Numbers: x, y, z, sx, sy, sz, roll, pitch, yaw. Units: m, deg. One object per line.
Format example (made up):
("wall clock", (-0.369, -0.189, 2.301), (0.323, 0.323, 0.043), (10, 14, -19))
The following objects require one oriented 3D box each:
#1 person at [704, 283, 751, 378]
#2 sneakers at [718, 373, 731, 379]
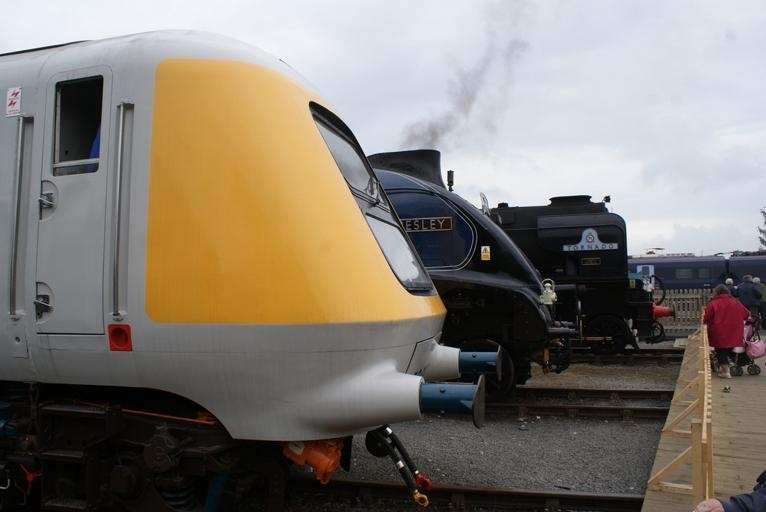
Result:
("person", (6.167, 1.333, 10.088), (0.672, 1.608, 0.560), (-1, 2, -21))
("sneakers", (6.028, 2.093, 9.894), (0.242, 0.106, 0.088), (-1, 0, 41))
